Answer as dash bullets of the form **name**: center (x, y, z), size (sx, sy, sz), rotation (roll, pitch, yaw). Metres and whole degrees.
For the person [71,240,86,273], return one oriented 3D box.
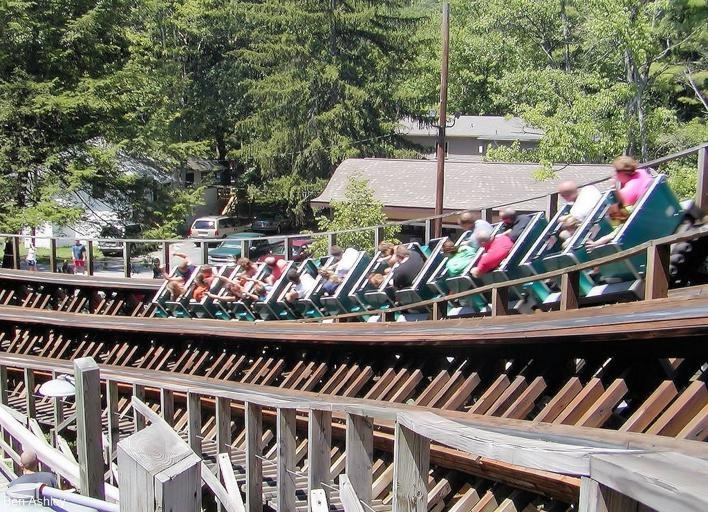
- **person**: center (-7.430, 0.083, 38.834), size (0.303, 1.026, 1.488), rotation (-1, 11, -12)

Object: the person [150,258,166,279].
- **person**: center (-4.799, 0.320, 35.249), size (0.405, 0.807, 0.288), rotation (-2, -14, -6)

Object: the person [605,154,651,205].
- **person**: center (5.563, -1.464, 28.775), size (0.869, 0.961, 0.639), rotation (6, 12, 24)
